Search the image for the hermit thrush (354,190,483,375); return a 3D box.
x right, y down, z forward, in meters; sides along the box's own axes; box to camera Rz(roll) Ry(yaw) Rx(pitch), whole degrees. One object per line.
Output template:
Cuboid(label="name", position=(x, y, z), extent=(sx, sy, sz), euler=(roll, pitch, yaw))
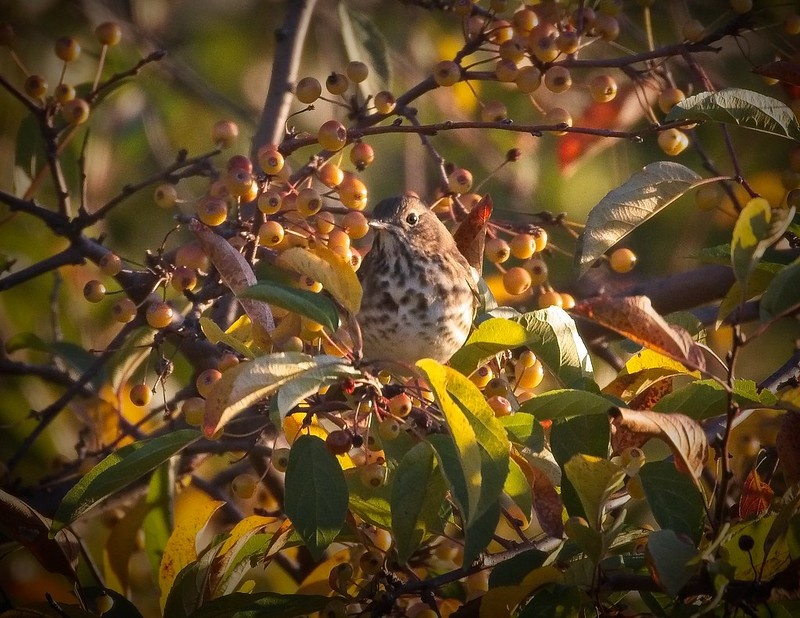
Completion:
Cuboid(label="hermit thrush", position=(0.053, -0.108, 4.400), extent=(0.407, 0.638, 0.546), euler=(-2, -81, -6))
